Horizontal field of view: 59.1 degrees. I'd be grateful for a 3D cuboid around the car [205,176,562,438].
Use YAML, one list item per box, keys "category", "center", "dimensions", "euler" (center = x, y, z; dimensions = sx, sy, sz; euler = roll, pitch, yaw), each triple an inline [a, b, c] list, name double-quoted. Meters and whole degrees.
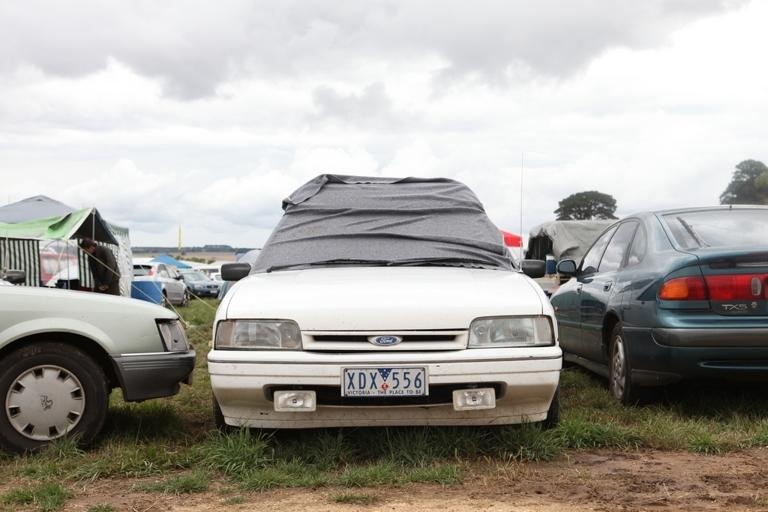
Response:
- category: "car"
  center: [0.016, 0.290, 6.278]
  dimensions: [1.815, 1.412, 3.096]
  euler: [-1, -7, -2]
